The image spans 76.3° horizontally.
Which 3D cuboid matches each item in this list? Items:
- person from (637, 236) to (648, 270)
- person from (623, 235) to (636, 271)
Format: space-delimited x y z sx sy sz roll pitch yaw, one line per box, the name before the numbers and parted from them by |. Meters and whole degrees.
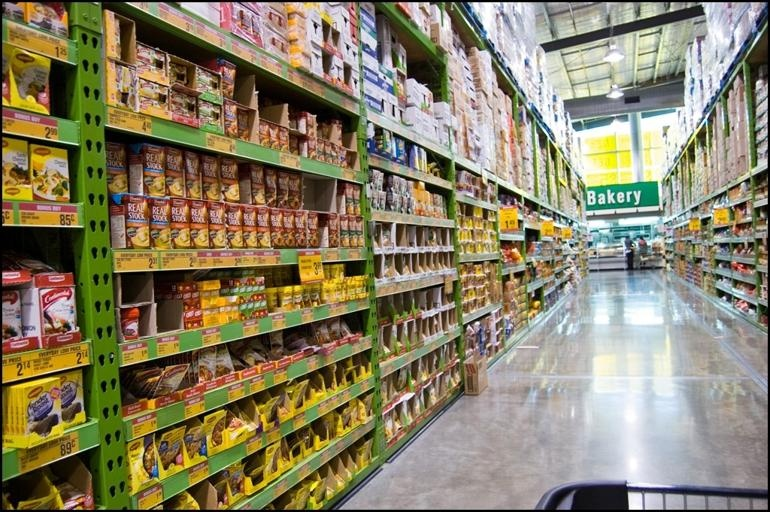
person | 12.373 -0.089 23.630 0.308 1.034 1.068 -3 1 31
person | 11.669 -0.086 23.339 0.396 1.097 0.356 -4 1 5
